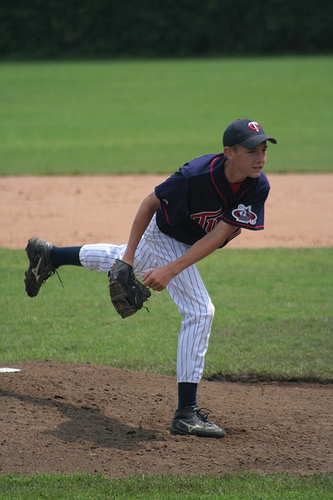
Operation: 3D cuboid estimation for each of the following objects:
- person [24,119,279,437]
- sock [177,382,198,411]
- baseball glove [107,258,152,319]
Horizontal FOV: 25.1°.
[{"bbox_3d":[-0.025,0.085,3.966,1.061,1.551,1.228,-3,14,-9],"label":"person"},{"bbox_3d":[0.101,0.714,3.663,0.097,0.151,0.091,-1,14,0],"label":"sock"},{"bbox_3d":[-0.233,0.206,3.785,0.210,0.271,0.132,-14,-10,-40],"label":"baseball glove"}]
